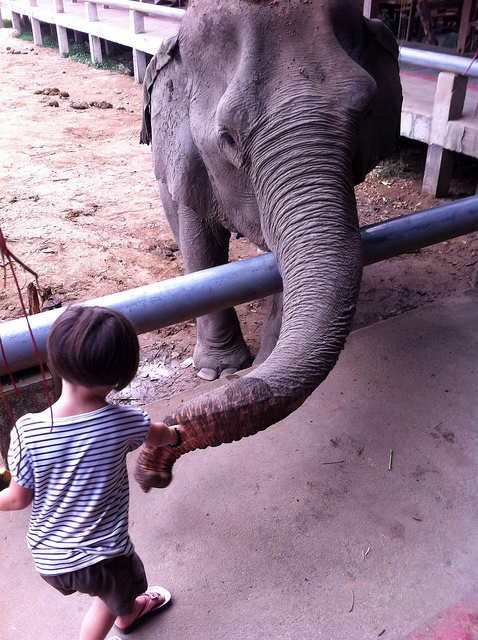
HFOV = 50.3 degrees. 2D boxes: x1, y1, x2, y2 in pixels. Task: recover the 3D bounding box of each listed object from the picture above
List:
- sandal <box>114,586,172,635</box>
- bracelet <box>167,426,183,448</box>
[{"bbox_3d":[-0.191,0.581,1.069,0.056,0.047,0.130,24,42,35],"label":"sandal"},{"bbox_3d":[-0.113,0.207,0.895,0.038,0.038,0.013,4,6,10],"label":"bracelet"}]
